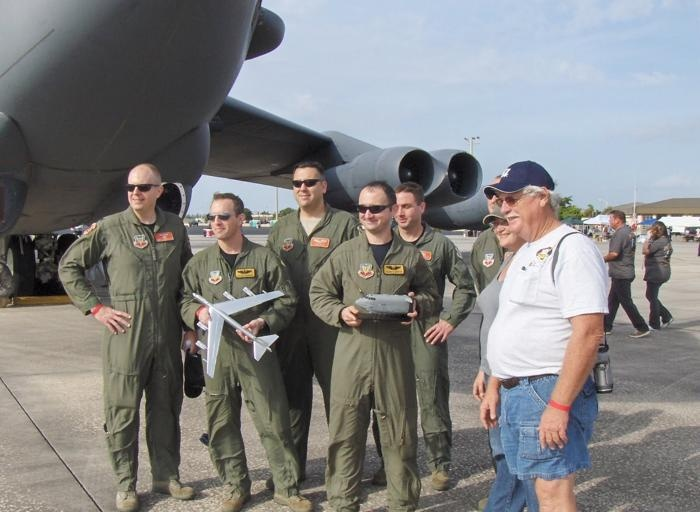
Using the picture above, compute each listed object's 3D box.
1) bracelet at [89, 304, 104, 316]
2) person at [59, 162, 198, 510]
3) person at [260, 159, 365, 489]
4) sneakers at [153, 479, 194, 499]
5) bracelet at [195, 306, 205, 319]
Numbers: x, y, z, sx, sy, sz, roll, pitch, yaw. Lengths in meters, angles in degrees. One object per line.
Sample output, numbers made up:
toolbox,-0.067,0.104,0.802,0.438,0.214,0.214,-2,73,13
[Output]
bracelet,-1.970,0.432,5.002,0.075,0.090,0.098,2,27,3
person,-1.658,0.573,4.948,0.883,2.574,0.651,0,3,-17
person,-0.364,0.558,5.698,0.875,2.762,0.845,2,17,10
sneakers,-1.347,1.804,5.026,0.342,0.149,0.129,3,4,20
bracelet,-1.126,0.433,4.899,0.069,0.096,0.025,21,-1,43
